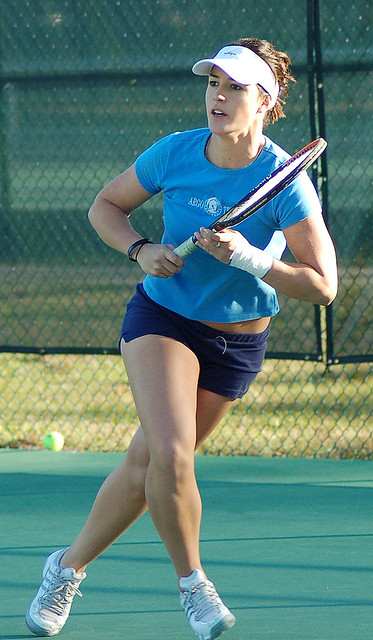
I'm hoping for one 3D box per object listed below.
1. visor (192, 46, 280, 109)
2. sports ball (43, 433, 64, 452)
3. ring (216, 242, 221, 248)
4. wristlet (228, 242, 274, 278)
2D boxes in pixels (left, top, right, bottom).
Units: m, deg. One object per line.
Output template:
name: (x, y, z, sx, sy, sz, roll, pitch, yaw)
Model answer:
visor: (0.113, -0.571, 1.509, 0.203, 0.145, 0.217, 0, 16, 8)
sports ball: (-0.803, 0.739, 3.930, 0.101, 0.098, 0.118, 0, 25, 3)
ring: (0.068, -0.157, 1.336, 0.007, 0.011, 0.014, -11, 18, -26)
wristlet: (0.141, -0.129, 1.365, 0.087, 0.053, 0.036, 26, -45, -39)
